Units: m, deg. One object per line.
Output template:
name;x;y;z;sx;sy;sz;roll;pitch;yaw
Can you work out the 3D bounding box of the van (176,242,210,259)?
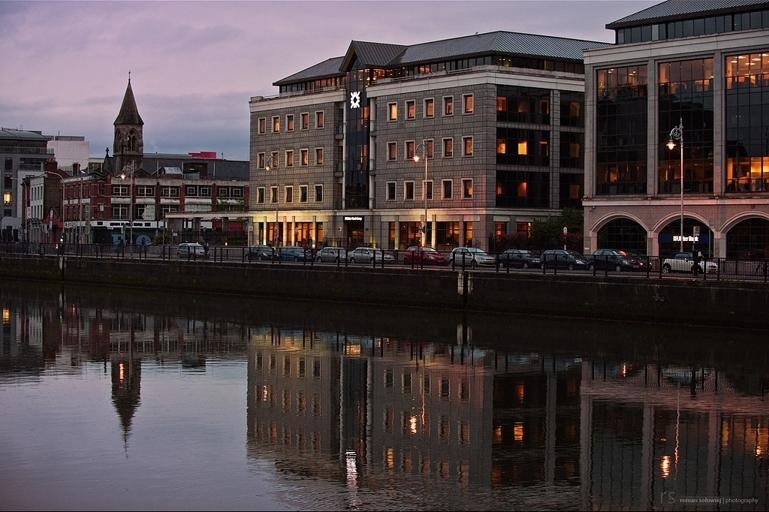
van;-17.411;-0.662;122.629;2.997;1.340;1.749;-3;0;9
